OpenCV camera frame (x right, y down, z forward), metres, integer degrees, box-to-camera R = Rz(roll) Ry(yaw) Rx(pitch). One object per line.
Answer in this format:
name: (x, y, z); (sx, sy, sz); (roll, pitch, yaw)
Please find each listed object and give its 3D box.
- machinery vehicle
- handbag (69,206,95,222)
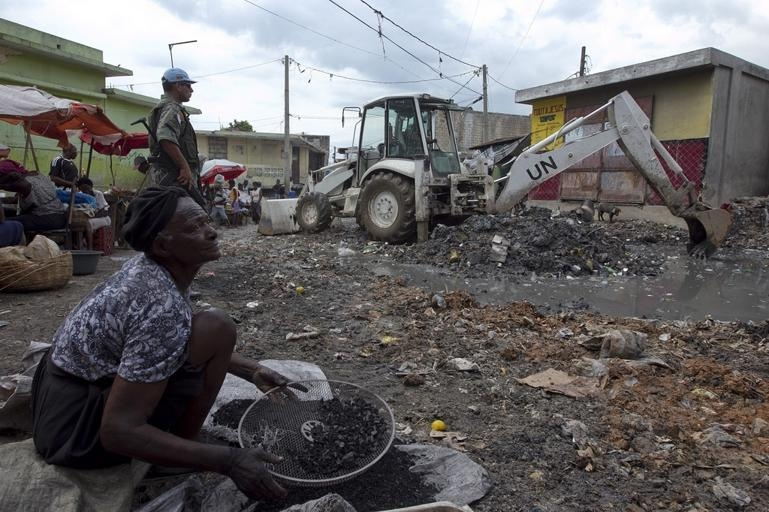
machinery vehicle: (1.449, -1.486, 10.154); (8.448, 3.117, 2.627); (12, 18, 36)
handbag: (-4.388, -0.598, 7.712); (0.273, 0.143, 0.352); (-2, 5, -34)
